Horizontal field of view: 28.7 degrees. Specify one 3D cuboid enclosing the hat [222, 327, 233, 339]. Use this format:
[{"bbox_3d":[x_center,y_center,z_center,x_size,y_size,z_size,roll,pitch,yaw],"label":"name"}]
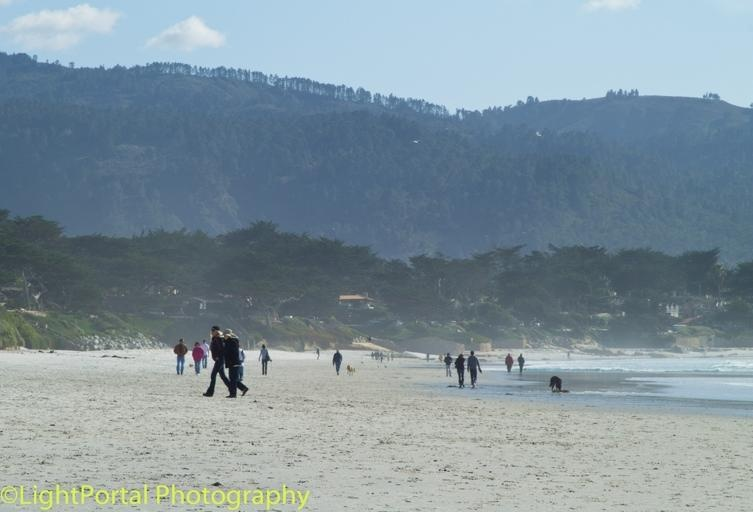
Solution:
[{"bbox_3d":[-13.834,7.129,139.586,0.759,0.817,0.513,0,13,-13],"label":"hat"}]
